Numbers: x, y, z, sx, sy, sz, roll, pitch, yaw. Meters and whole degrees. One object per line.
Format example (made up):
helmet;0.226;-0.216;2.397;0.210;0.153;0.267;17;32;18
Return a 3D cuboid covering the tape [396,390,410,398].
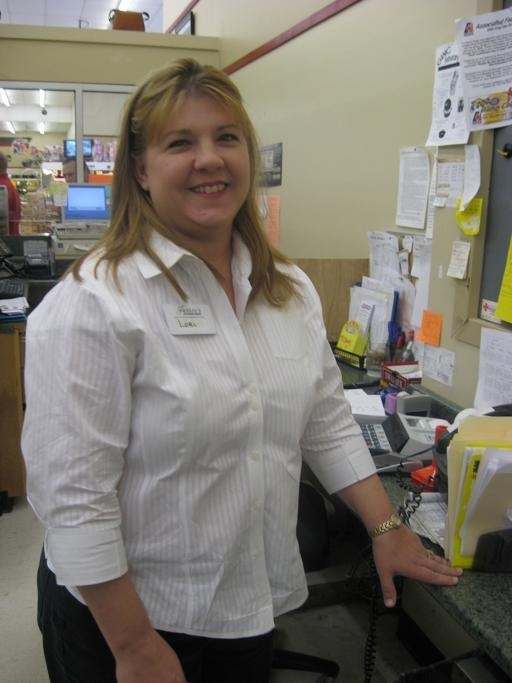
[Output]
tape;0.460;0.163;1.627;0.023;0.022;0.040;6;6;-21

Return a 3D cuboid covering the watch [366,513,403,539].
watch;0.224;0.321;0.902;0.042;0.020;0.040;-29;13;7
